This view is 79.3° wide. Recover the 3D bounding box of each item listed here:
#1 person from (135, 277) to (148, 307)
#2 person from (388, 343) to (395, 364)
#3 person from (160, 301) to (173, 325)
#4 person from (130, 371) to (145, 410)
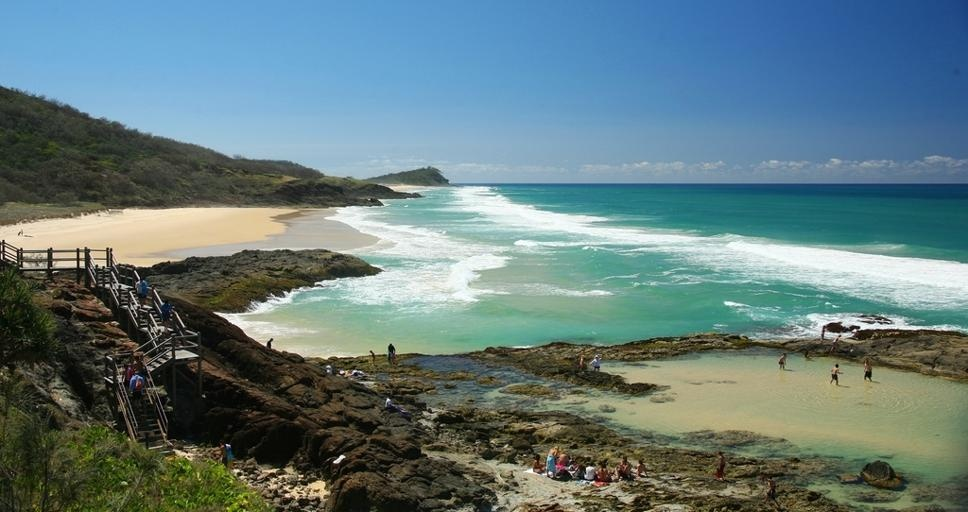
[{"bbox_3d":[-18.004,1.920,30.494,0.526,1.180,1.338,-7,11,-30],"label":"person"},{"bbox_3d":[-5.900,6.124,36.747,0.419,1.107,0.868,-2,10,-9],"label":"person"},{"bbox_3d":[-15.880,2.890,29.087,0.535,0.984,0.783,-6,11,-25],"label":"person"},{"bbox_3d":[-15.761,5.939,26.335,0.571,1.492,0.719,-5,12,-23],"label":"person"}]
